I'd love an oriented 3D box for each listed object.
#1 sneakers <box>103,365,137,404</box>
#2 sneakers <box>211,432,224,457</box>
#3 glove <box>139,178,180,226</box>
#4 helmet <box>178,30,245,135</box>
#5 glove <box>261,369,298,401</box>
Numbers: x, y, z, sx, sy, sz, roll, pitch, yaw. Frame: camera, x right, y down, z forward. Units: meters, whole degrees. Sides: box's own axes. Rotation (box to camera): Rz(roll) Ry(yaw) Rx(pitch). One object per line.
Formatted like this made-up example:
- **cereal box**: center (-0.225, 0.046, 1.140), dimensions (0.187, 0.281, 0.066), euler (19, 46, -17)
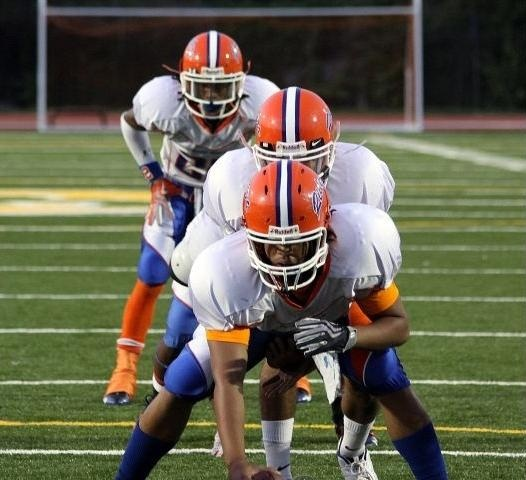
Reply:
- **sneakers**: center (-0.767, 0.797, 6.227), dimensions (0.136, 0.174, 0.411), euler (0, -5, -4)
- **sneakers**: center (-0.216, 1.004, 5.670), dimensions (0.069, 0.099, 0.223), euler (-1, 10, -1)
- **glove**: center (-0.620, -0.239, 6.536), dimensions (0.109, 0.239, 0.232), euler (17, 4, 36)
- **helmet**: center (-0.269, -0.889, 6.284), dimensions (0.369, 0.506, 0.503), euler (-1, 21, -3)
- **glove**: center (0.080, 0.669, 5.284), dimensions (0.152, 0.107, 0.048), euler (-25, 20, 20)
